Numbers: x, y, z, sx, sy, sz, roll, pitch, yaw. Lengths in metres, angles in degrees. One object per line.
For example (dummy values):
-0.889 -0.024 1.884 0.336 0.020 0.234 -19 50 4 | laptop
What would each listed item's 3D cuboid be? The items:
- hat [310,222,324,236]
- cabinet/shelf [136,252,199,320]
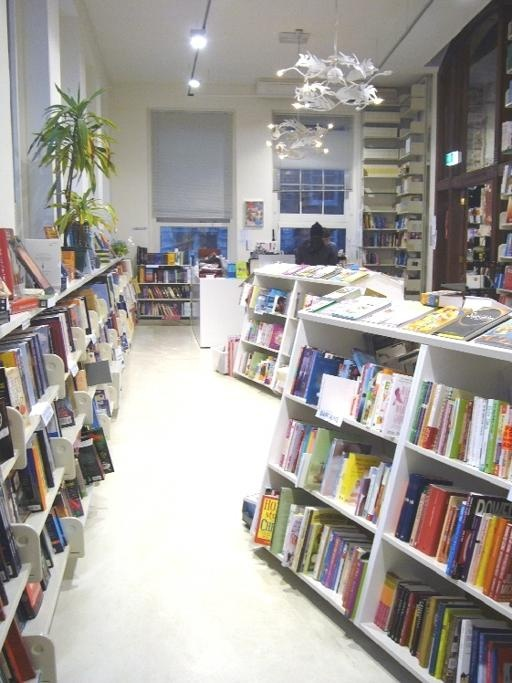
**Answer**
0.880 -1.642 7.594 0.221 0.256 0.253 -2 0 1 | hat
-1.963 -1.220 11.302 1.546 2.108 0.727 0 3 -7 | cabinet/shelf
